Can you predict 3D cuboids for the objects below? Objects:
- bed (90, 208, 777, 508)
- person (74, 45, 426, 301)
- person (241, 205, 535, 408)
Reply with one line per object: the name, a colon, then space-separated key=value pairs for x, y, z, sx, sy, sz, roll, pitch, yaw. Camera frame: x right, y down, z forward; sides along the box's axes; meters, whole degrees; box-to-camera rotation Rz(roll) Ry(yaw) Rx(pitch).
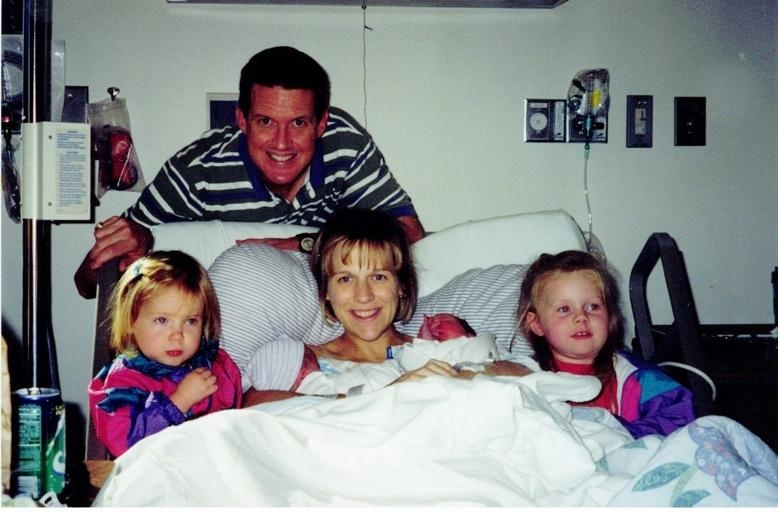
bed: x=0.116 y=0.290 z=2.300 sx=1.920 sy=0.878 sz=0.823 roll=0 pitch=3 yaw=6
person: x=-0.626 y=-0.342 z=3.350 sx=1.725 sy=1.205 sz=0.880 roll=-7 pitch=42 yaw=-16
person: x=-0.136 y=0.165 z=2.617 sx=0.718 sy=0.906 sz=0.353 roll=-5 pitch=-33 yaw=-15
